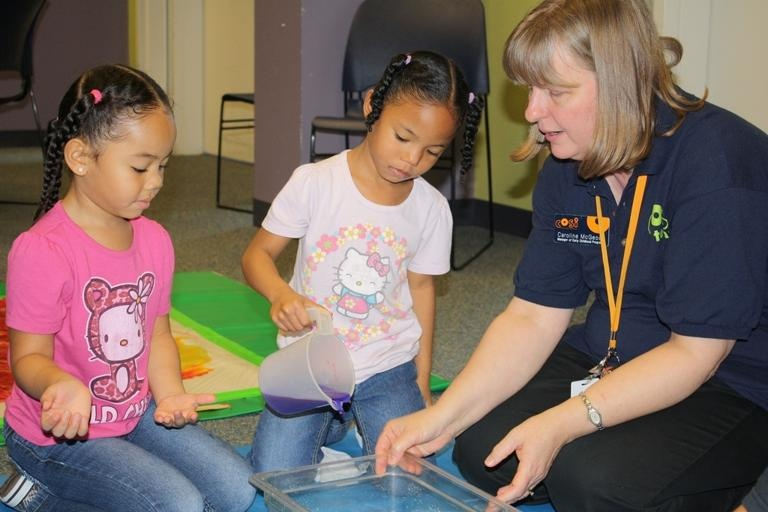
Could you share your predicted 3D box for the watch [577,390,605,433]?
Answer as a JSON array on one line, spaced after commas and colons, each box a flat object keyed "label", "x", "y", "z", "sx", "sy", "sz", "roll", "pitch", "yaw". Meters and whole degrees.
[{"label": "watch", "x": 0.451, "y": 0.350, "z": 1.442, "sx": 0.030, "sy": 0.058, "sz": 0.057, "roll": -19, "pitch": -13, "yaw": 2}]

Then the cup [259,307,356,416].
[{"label": "cup", "x": -0.177, "y": 0.220, "z": 1.470, "sx": 0.162, "sy": 0.244, "sz": 0.193, "roll": -6, "pitch": -8, "yaw": 22}]
